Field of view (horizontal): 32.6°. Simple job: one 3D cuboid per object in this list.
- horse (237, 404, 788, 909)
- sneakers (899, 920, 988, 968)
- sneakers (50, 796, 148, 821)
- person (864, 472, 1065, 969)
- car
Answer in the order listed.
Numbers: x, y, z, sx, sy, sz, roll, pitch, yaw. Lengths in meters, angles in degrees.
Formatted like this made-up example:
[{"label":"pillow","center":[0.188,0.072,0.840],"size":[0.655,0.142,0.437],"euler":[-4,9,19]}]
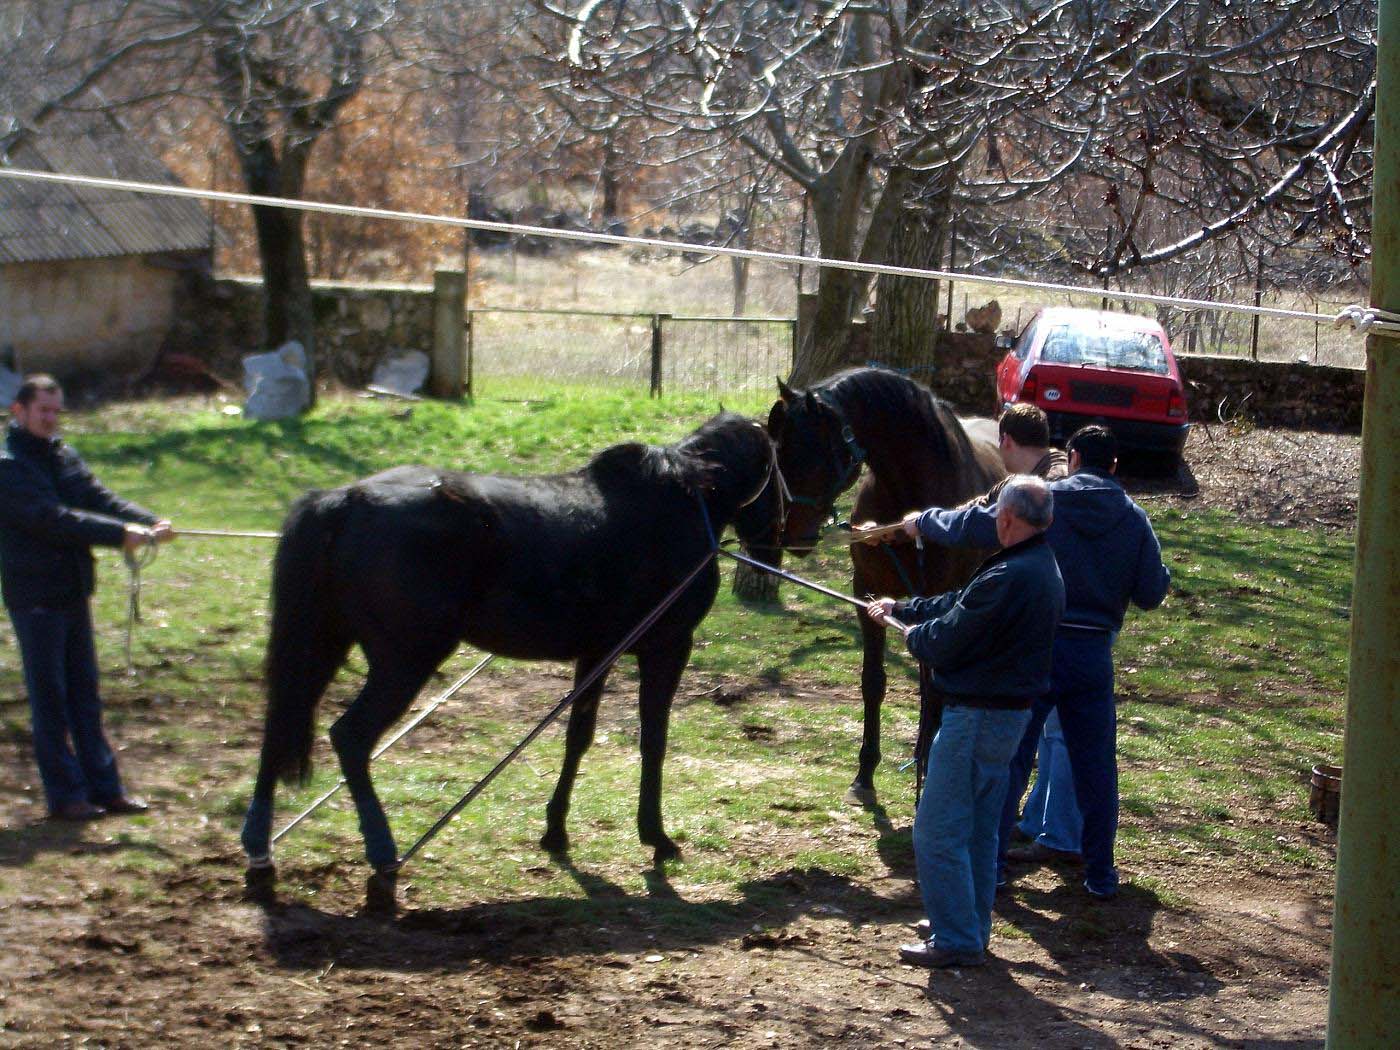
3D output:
[{"label":"horse","center":[-1.028,0.850,16.225],"size":[4.631,3.042,1.179],"euler":[-3,5,-41]},{"label":"sneakers","center":[1.469,2.680,15.182],"size":[0.665,0.260,0.232],"euler":[10,5,10]},{"label":"sneakers","center":[-4.021,1.883,15.996],"size":[0.620,0.218,0.192],"euler":[-6,0,-8]},{"label":"person","center":[1.759,1.239,15.035],"size":[0.926,3.072,0.430],"euler":[3,7,3]},{"label":"car","center":[4.302,-1.520,26.184],"size":[1.499,1.052,2.327],"euler":[2,25,-2]}]
